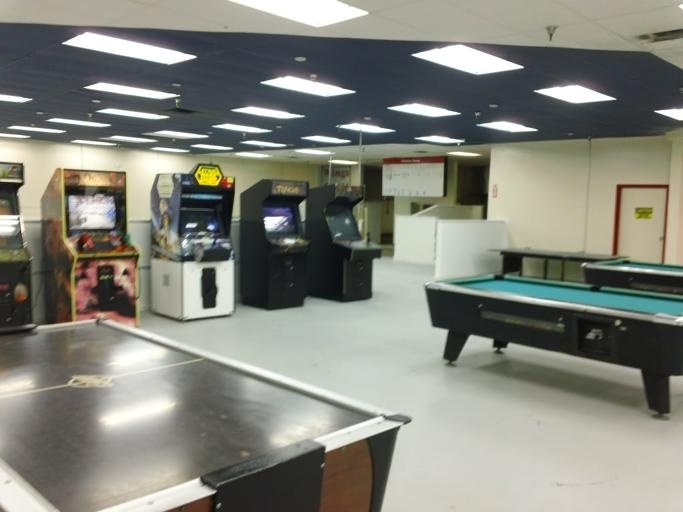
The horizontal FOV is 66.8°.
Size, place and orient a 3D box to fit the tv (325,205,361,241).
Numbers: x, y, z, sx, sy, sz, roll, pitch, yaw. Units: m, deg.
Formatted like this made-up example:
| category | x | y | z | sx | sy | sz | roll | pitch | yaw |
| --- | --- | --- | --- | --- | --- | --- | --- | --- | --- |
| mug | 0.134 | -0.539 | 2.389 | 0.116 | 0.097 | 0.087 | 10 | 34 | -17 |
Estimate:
| category | x | y | z | sx | sy | sz | roll | pitch | yaw |
| --- | --- | --- | --- | --- | --- | --- | --- | --- | --- |
| tv | 0.056 | -0.542 | 8.599 | 0.504 | 0.541 | 0.760 | 9 | 11 | 38 |

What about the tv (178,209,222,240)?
| category | x | y | z | sx | sy | sz | roll | pitch | yaw |
| --- | --- | --- | --- | --- | --- | --- | --- | --- | --- |
| tv | -1.911 | -0.406 | 6.934 | 0.060 | 0.270 | 0.460 | -18 | -9 | 35 |
